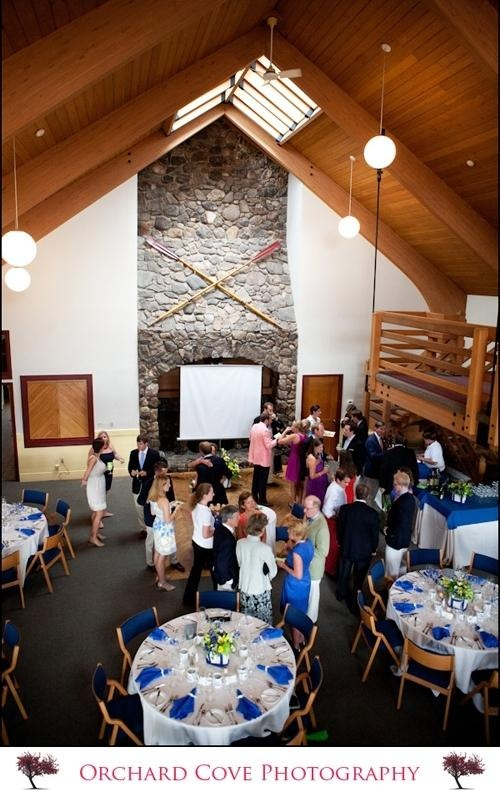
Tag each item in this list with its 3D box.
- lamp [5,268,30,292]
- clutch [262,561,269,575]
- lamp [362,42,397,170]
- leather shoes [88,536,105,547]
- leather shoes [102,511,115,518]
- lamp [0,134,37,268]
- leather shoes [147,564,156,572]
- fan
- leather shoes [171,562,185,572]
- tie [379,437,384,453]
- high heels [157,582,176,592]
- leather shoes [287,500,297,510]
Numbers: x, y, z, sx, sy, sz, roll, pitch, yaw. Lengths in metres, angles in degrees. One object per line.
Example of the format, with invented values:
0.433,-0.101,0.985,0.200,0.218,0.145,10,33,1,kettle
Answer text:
-2.835,-1.454,5.986,0.232,0.274,0.312,-4,6,-35,lamp
0.131,1.391,3.948,0.067,0.089,0.094,-1,-5,1,clutch
1.401,-3.004,5.102,0.338,1.601,0.110,8,-19,4,lamp
-2.039,1.917,6.516,0.247,0.118,0.085,3,6,42,leather shoes
-2.166,1.804,7.507,0.063,0.092,0.215,6,13,21,leather shoes
-2.578,-1.946,5.394,0.268,1.314,2.588,-2,6,-26,lamp
-1.172,2.058,5.860,0.126,0.102,0.074,-1,-19,1,leather shoes
0.283,-3.982,5.611,0.443,0.542,0.572,4,33,5,fan
-0.851,2.050,5.866,0.206,0.098,0.070,3,4,44,leather shoes
2.045,0.753,7.564,0.043,0.192,0.197,2,5,24,tie
-0.918,2.099,5.383,0.220,0.123,0.080,1,7,-7,high heels
0.648,1.654,7.554,0.125,0.161,0.378,0,-3,0,leather shoes
